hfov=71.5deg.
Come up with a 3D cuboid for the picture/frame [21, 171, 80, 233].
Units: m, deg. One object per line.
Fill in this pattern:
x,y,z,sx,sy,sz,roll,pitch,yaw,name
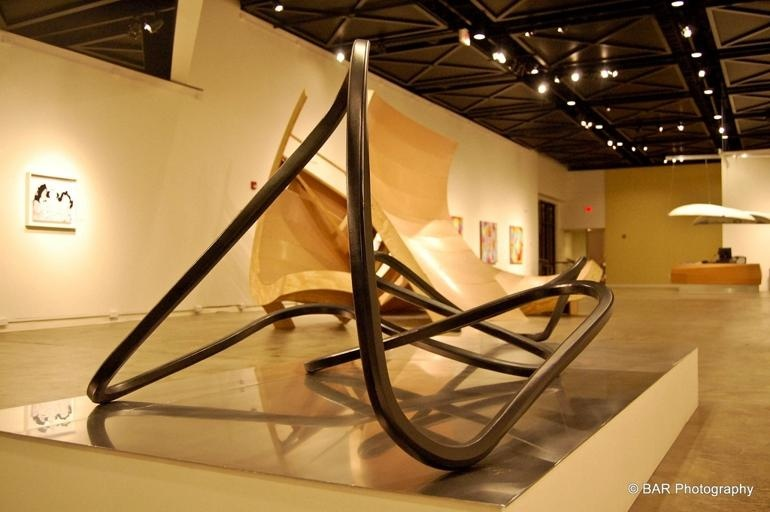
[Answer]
-4.212,-0.681,6.712,0.120,0.861,0.786,-8,-9,31,picture/frame
